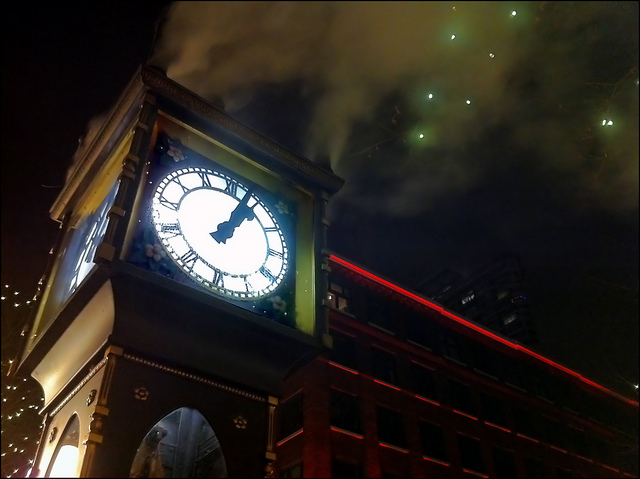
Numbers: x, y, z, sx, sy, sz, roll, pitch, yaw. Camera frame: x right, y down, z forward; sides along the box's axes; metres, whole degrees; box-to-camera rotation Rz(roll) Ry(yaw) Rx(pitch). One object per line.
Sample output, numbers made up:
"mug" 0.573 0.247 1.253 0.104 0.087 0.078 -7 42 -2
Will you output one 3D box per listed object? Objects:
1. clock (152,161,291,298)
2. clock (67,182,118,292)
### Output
"clock" -1.823 -0.119 9.577 2.118 2.197 0.140 23 -42 -32
"clock" -4.019 -0.036 9.607 0.074 1.680 1.680 27 -64 -18
